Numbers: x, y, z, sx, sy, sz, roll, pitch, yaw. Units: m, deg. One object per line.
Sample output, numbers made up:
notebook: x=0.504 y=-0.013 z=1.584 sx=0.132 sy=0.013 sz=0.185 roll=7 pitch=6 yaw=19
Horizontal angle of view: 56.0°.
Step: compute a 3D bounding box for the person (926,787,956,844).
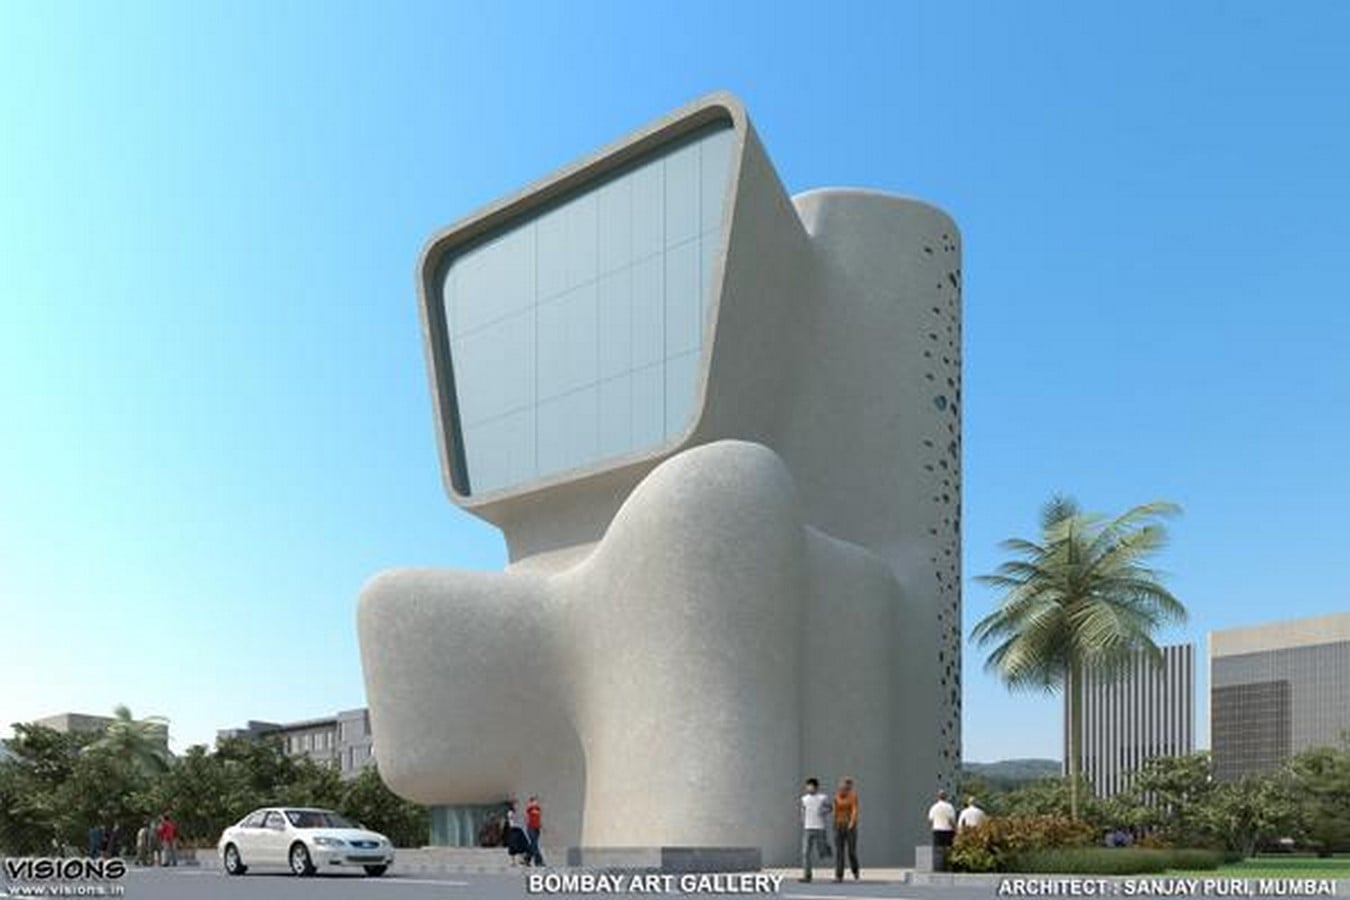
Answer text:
person: x=5.995 y=8.124 z=28.399 sx=0.528 sy=1.138 sz=1.119 roll=-5 pitch=-13 yaw=12
